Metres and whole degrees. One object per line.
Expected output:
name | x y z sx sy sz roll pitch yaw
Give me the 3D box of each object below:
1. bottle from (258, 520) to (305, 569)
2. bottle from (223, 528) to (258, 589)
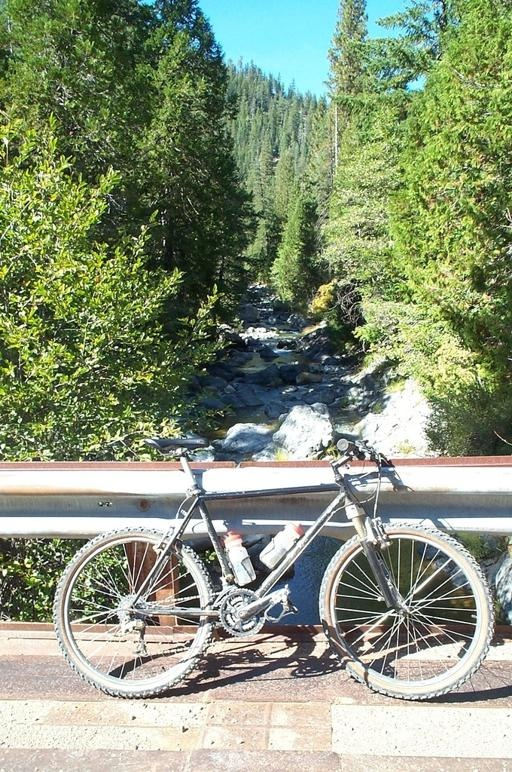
bottle | 0.140 0.838 3.465 0.253 0.271 0.134 -9 34 -8
bottle | -0.084 0.879 3.453 0.154 0.264 0.098 -25 -4 28
